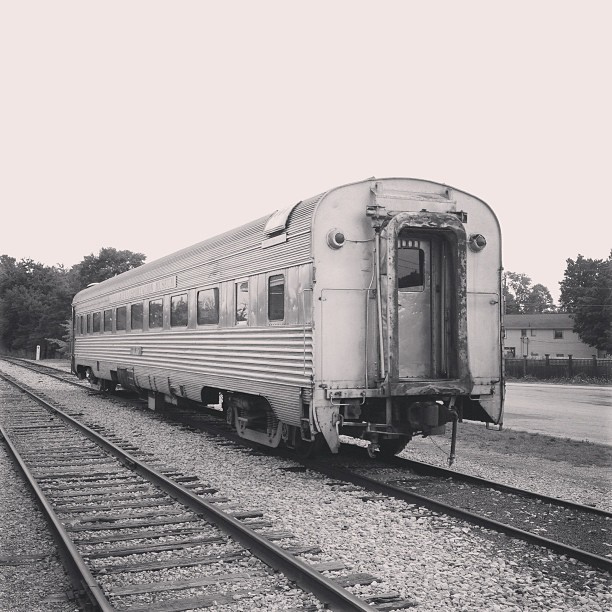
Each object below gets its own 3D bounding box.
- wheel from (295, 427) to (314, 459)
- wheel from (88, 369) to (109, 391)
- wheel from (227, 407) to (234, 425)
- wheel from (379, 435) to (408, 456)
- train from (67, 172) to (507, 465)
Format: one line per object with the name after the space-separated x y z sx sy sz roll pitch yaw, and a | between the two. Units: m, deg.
-0.015 1.740 8.953 0.235 0.441 0.631 0 -2 0 | wheel
-6.098 2.200 20.600 0.535 0.676 2.259 1 -2 -18 | wheel
-1.123 1.644 10.455 0.072 0.227 0.151 6 4 -4 | wheel
1.137 1.832 9.073 0.375 0.400 0.308 -2 -1 10 | wheel
-1.633 0.464 13.995 2.955 3.714 13.821 0 -2 -27 | train
